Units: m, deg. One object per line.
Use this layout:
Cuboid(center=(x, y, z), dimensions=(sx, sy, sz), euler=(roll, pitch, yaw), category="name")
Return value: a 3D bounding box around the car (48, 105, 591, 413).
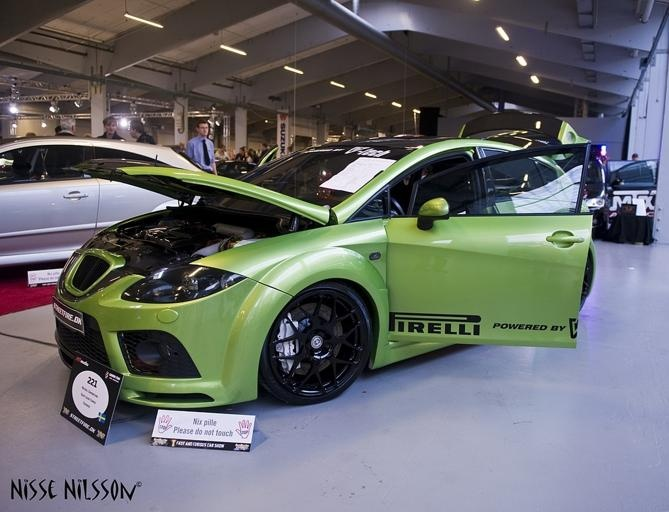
Cuboid(center=(0.277, -0.103, 3.088), dimensions=(2.450, 1.198, 3.476), euler=(12, 14, 41), category="car")
